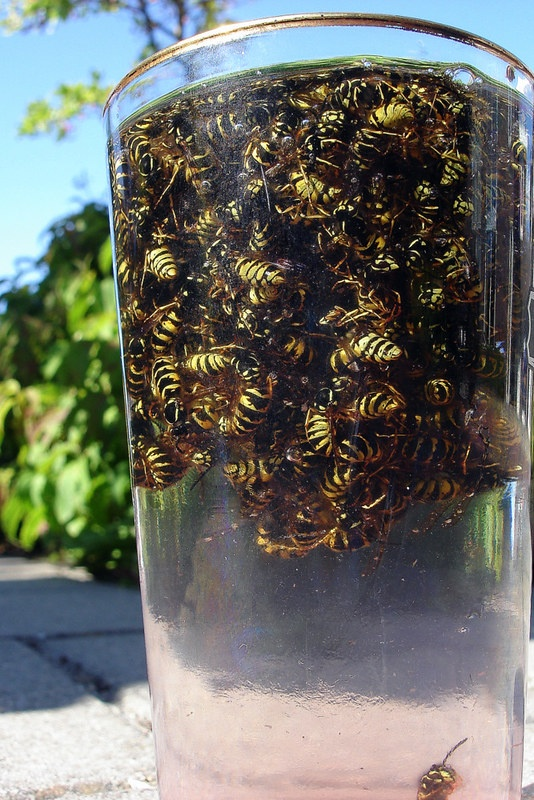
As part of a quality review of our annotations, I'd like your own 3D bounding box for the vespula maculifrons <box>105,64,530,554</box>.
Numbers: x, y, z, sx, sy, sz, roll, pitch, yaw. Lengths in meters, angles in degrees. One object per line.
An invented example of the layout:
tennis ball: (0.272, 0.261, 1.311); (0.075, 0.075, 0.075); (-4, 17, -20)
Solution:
vespula maculifrons: (0.039, -0.060, 0.623); (0.286, 0.299, 0.094); (7, 1, -7)
